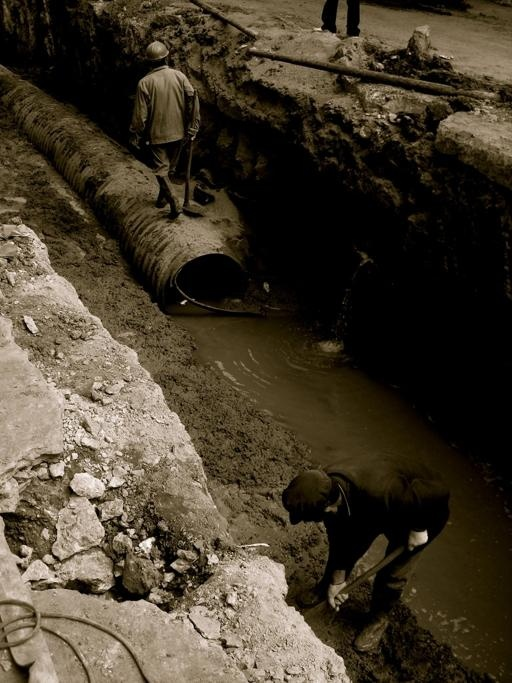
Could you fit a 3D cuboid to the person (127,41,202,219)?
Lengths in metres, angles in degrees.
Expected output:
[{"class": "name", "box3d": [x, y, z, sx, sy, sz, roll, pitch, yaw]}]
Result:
[{"class": "person", "box3d": [-0.897, -1.944, 7.554, 0.401, 1.602, 0.676, 24, 30, 28]}]

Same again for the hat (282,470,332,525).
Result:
[{"class": "hat", "box3d": [0.274, 0.870, 4.389, 0.259, 0.322, 0.212, 5, 26, -7]}]

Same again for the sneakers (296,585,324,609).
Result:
[{"class": "sneakers", "box3d": [0.339, 1.620, 5.075, 0.183, 0.041, 0.128, -27, 41, -15]}]

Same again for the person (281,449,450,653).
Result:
[{"class": "person", "box3d": [0.672, 1.148, 4.782, 1.040, 1.217, 0.660, -15, 27, -13]}]

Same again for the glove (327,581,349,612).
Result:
[{"class": "glove", "box3d": [0.488, 1.561, 4.918, 0.071, 0.169, 0.181, 10, -19, 5]}]

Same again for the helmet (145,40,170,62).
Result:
[{"class": "helmet", "box3d": [-0.905, -2.632, 7.315, 0.185, 0.153, 0.234, 3, 24, -9]}]
